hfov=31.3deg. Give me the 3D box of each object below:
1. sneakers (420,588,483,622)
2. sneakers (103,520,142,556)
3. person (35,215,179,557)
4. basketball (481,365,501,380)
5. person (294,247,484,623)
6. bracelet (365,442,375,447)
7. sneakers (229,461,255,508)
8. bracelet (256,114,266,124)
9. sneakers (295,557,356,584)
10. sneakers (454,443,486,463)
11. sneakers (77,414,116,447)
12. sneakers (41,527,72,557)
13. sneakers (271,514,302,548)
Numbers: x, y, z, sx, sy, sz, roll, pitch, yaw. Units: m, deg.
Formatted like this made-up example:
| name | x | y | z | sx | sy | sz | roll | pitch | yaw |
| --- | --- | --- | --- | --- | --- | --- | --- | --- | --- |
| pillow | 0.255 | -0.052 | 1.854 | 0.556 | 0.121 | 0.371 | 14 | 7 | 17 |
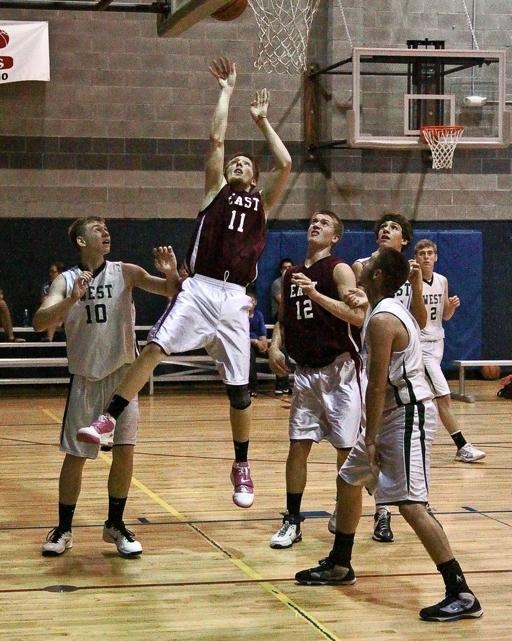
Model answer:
| name | x | y | z | sx | sy | sz | roll | pitch | yaw |
| --- | --- | --- | --- | --- | --- | --- | --- | --- | --- |
| sneakers | 0.777 | 1.138 | 3.656 | 0.281 | 0.125 | 0.099 | 1 | -7 | -8 |
| sneakers | -0.648 | 1.067 | 4.510 | 0.264 | 0.125 | 0.099 | 23 | 13 | 41 |
| person | -0.752 | 0.337 | 4.465 | 0.671 | 1.664 | 0.586 | 2 | 8 | -16 |
| basketball | 3.317 | 0.715 | 12.933 | 0.217 | 0.257 | 0.218 | -35 | -3 | 10 |
| person | 0.581 | 0.464 | 3.771 | 0.399 | 1.499 | 0.795 | -2 | 9 | -36 |
| bracelet | 0.462 | 0.497 | 3.693 | 0.026 | 0.026 | 0.025 | 0 | 2 | -5 |
| sneakers | -0.076 | 0.859 | 4.825 | 0.091 | 0.109 | 0.279 | -2 | 19 | -5 |
| bracelet | 0.027 | -1.118 | 5.021 | 0.046 | 0.041 | 0.046 | -9 | 26 | 12 |
| sneakers | 0.310 | 1.120 | 4.076 | 0.250 | 0.111 | 0.109 | 3 | -9 | -3 |
| sneakers | 1.653 | 1.029 | 7.096 | 0.105 | 0.127 | 0.258 | 2 | -8 | -33 |
| sneakers | -0.713 | 0.502 | 4.161 | 0.098 | 0.133 | 0.278 | 25 | -3 | 11 |
| sneakers | -0.967 | 1.085 | 4.444 | 0.077 | 0.084 | 0.185 | 2 | -13 | 2 |
| sneakers | 0.160 | 1.091 | 4.674 | 0.081 | 0.106 | 0.225 | -2 | -10 | 22 |
